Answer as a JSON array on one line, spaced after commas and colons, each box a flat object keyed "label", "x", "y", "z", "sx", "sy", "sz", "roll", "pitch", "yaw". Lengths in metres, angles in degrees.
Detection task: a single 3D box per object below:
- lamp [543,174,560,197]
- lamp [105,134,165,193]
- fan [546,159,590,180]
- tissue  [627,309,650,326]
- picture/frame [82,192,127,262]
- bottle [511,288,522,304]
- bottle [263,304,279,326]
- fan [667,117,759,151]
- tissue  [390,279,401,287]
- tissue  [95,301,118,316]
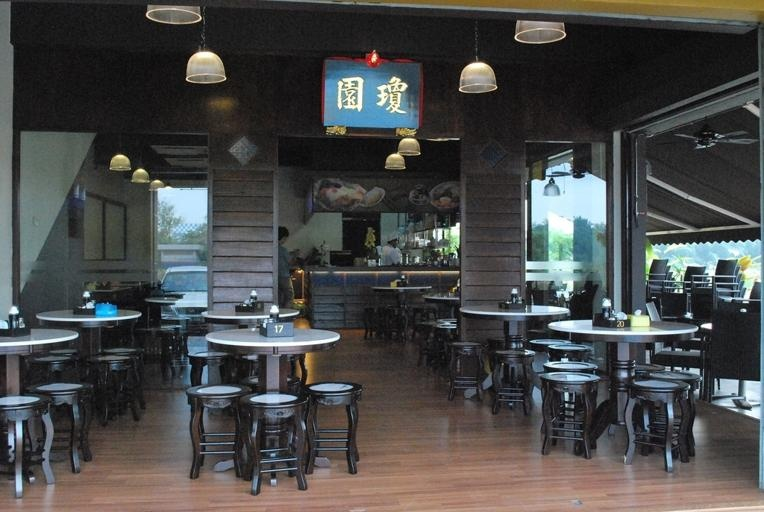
[{"label": "lamp", "x": 2.207, "y": -0.896, "z": 10.167, "sx": 0.261, "sy": 0.251, "sz": 0.247, "roll": 1, "pitch": 8, "yaw": 9}, {"label": "lamp", "x": -3.024, "y": -1.096, "z": 9.827, "sx": 0.373, "sy": 0.574, "sz": 0.996, "roll": 0, "pitch": -5, "yaw": 14}, {"label": "fan", "x": 2.483, "y": -1.125, "z": 10.276, "sx": 0.352, "sy": 0.115, "sz": 0.300, "roll": 1, "pitch": -3, "yaw": -14}, {"label": "tissue ", "x": 2.552, "y": 0.618, "z": 7.847, "sx": 0.186, "sy": 0.150, "sz": 0.175, "roll": 0, "pitch": 3, "yaw": 5}, {"label": "picture/frame", "x": -3.435, "y": -0.371, "z": 9.803, "sx": 0.484, "sy": 0.816, "sz": 0.060, "roll": 0, "pitch": -2, "yaw": -15}, {"label": "bottle", "x": 1.602, "y": 0.477, "z": 9.440, "sx": 0.144, "sy": 0.208, "sz": 0.136, "roll": -1, "pitch": 6, "yaw": 0}, {"label": "bottle", "x": -1.116, "y": 0.592, "z": 7.903, "sx": 0.163, "sy": 0.274, "sz": 0.156, "roll": 1, "pitch": 5, "yaw": 0}, {"label": "fan", "x": 5.032, "y": -1.874, "z": 11.844, "sx": 0.890, "sy": 0.238, "sz": 0.966, "roll": -1, "pitch": 2, "yaw": 2}, {"label": "tissue ", "x": 0.226, "y": 0.464, "z": 13.457, "sx": 0.197, "sy": 0.117, "sz": 0.103, "roll": -3, "pitch": -12, "yaw": 14}, {"label": "tissue ", "x": -3.051, "y": 0.580, "z": 8.741, "sx": 0.178, "sy": 0.097, "sz": 0.169, "roll": 0, "pitch": 0, "yaw": -26}]
